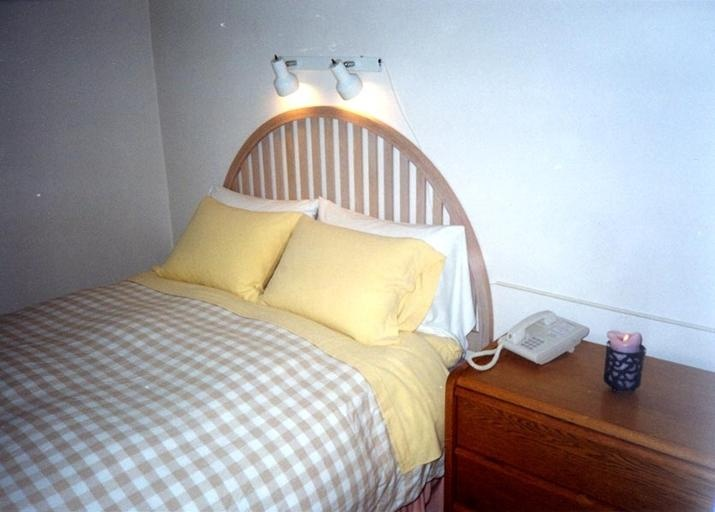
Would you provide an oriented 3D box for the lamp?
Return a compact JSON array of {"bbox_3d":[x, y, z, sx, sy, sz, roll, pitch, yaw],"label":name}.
[{"bbox_3d":[-0.214,-0.948,2.558,0.714,0.230,0.193,14,13,34],"label":"lamp"}]

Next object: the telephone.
[{"bbox_3d":[0.737,0.301,1.934,0.295,0.113,0.214,-17,17,-24],"label":"telephone"}]

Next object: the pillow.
[{"bbox_3d":[0.007,0.029,2.517,1.254,0.577,0.242,13,12,30],"label":"pillow"}]
